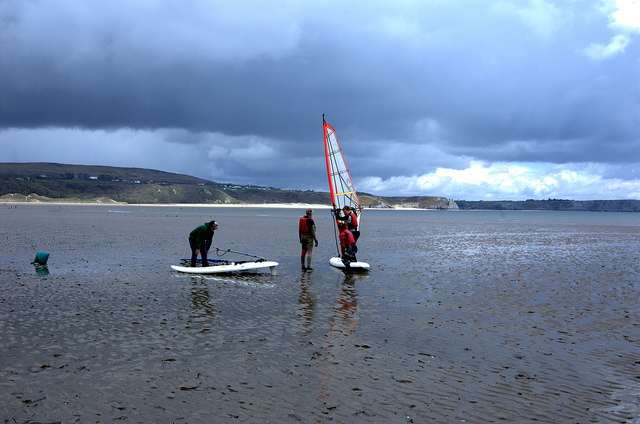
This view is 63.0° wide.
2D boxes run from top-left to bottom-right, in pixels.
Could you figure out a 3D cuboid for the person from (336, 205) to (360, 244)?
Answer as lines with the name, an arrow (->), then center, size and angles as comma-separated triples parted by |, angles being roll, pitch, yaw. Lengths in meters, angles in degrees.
person -> 1.745, 0.706, 31.542 | 1.219, 2.264, 0.879 | 0, 15, -2
